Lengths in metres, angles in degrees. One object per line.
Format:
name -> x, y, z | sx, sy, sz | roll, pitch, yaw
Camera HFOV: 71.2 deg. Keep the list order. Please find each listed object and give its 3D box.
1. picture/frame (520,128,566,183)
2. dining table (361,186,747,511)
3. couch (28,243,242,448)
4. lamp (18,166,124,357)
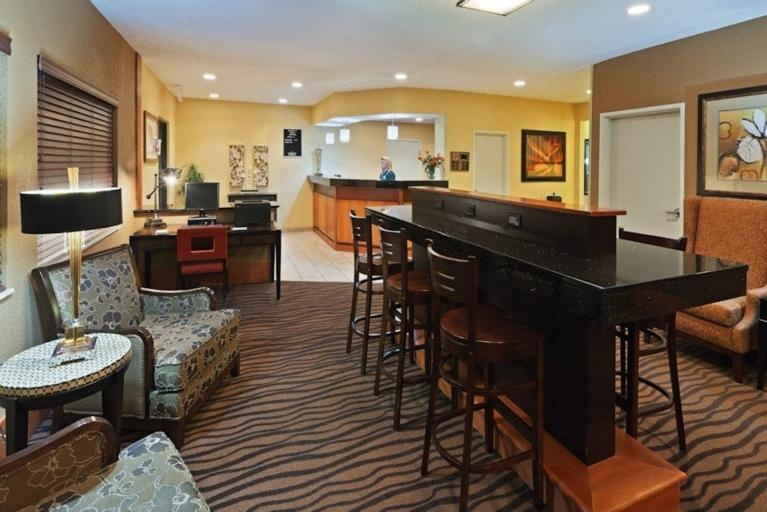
picture/frame -> 3.031, -1.968, 10.260 | 0.998, 1.031, 0.072 | -4, 8, -19
dining table -> 1.182, 0.746, 3.809 | 0.842, 1.156, 2.173 | -2, 3, -19
couch -> -1.930, 0.741, 4.579 | 1.299, 1.539, 1.781 | -1, 6, -4
lamp -> -2.081, 0.007, 3.677 | 0.597, 1.204, 0.468 | -8, 12, -34
